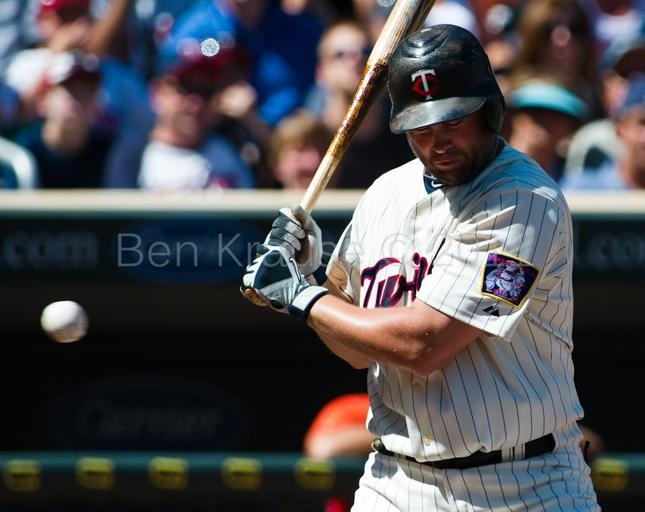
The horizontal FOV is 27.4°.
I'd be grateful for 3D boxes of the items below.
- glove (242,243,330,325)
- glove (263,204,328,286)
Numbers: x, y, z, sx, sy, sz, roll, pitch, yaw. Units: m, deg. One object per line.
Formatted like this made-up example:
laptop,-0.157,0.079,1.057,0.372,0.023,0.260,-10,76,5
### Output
glove,-0.139,0.088,4.354,0.254,0.216,0.111,32,24,22
glove,-0.069,-0.063,4.484,0.103,0.269,0.193,-30,7,28
